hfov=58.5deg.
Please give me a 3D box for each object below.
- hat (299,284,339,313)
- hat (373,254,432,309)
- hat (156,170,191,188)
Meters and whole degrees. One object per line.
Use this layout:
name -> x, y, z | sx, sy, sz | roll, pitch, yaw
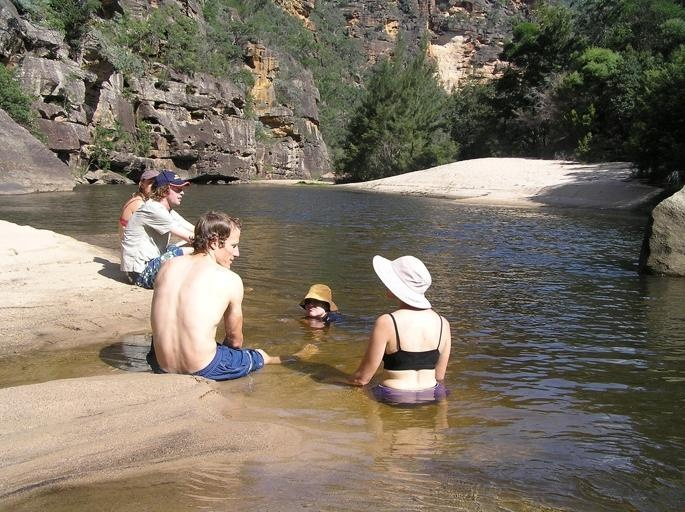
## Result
hat -> -0.260, 0.514, 7.668 | 0.412, 0.196, 0.427 | 7, 1, 6
hat -> 0.495, 0.210, 5.195 | 0.488, 0.457, 0.358 | 3, 15, 2
hat -> -2.206, -0.992, 7.838 | 0.468, 0.132, 0.243 | 1, 9, -2
